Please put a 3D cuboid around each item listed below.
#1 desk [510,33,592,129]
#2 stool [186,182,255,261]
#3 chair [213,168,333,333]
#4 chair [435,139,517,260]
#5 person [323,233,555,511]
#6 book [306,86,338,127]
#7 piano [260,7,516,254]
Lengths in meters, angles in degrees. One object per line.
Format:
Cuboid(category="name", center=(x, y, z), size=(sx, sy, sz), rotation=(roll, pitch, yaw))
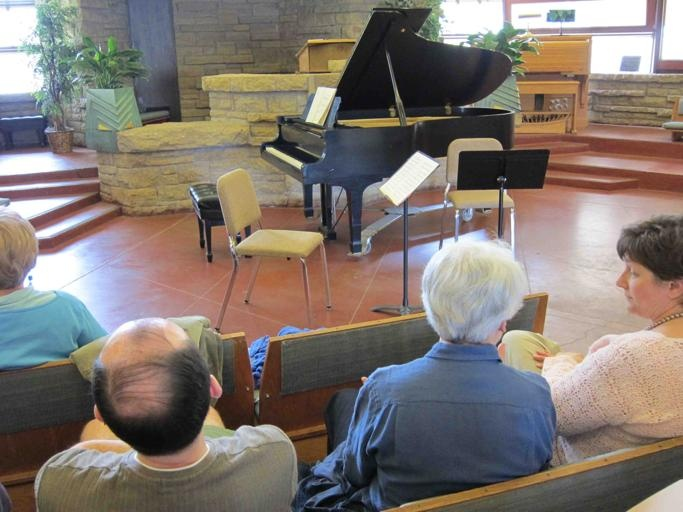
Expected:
Cuboid(category="desk", center=(2.952, -2.779, 8.644), size=(1.440, 1.356, 0.727), rotation=(0, 24, -15))
Cuboid(category="stool", center=(-0.930, -0.258, 4.848), size=(0.639, 0.436, 0.352), rotation=(-2, 12, -27))
Cuboid(category="chair", center=(-0.487, -0.046, 3.787), size=(0.886, 0.994, 0.808), rotation=(11, 20, 32))
Cuboid(category="chair", center=(1.096, -0.476, 4.533), size=(0.619, 0.911, 0.587), rotation=(2, 18, 13))
Cuboid(category="person", center=(0.283, 0.390, 1.601), size=(0.632, 0.803, 0.341), rotation=(-1, 20, -4))
Cuboid(category="book", center=(-0.173, -1.255, 4.666), size=(0.226, 0.313, 0.404), rotation=(-5, 20, -12))
Cuboid(category="piano", center=(0.318, -1.320, 5.429), size=(2.926, 2.215, 1.579), rotation=(-11, 19, -27))
